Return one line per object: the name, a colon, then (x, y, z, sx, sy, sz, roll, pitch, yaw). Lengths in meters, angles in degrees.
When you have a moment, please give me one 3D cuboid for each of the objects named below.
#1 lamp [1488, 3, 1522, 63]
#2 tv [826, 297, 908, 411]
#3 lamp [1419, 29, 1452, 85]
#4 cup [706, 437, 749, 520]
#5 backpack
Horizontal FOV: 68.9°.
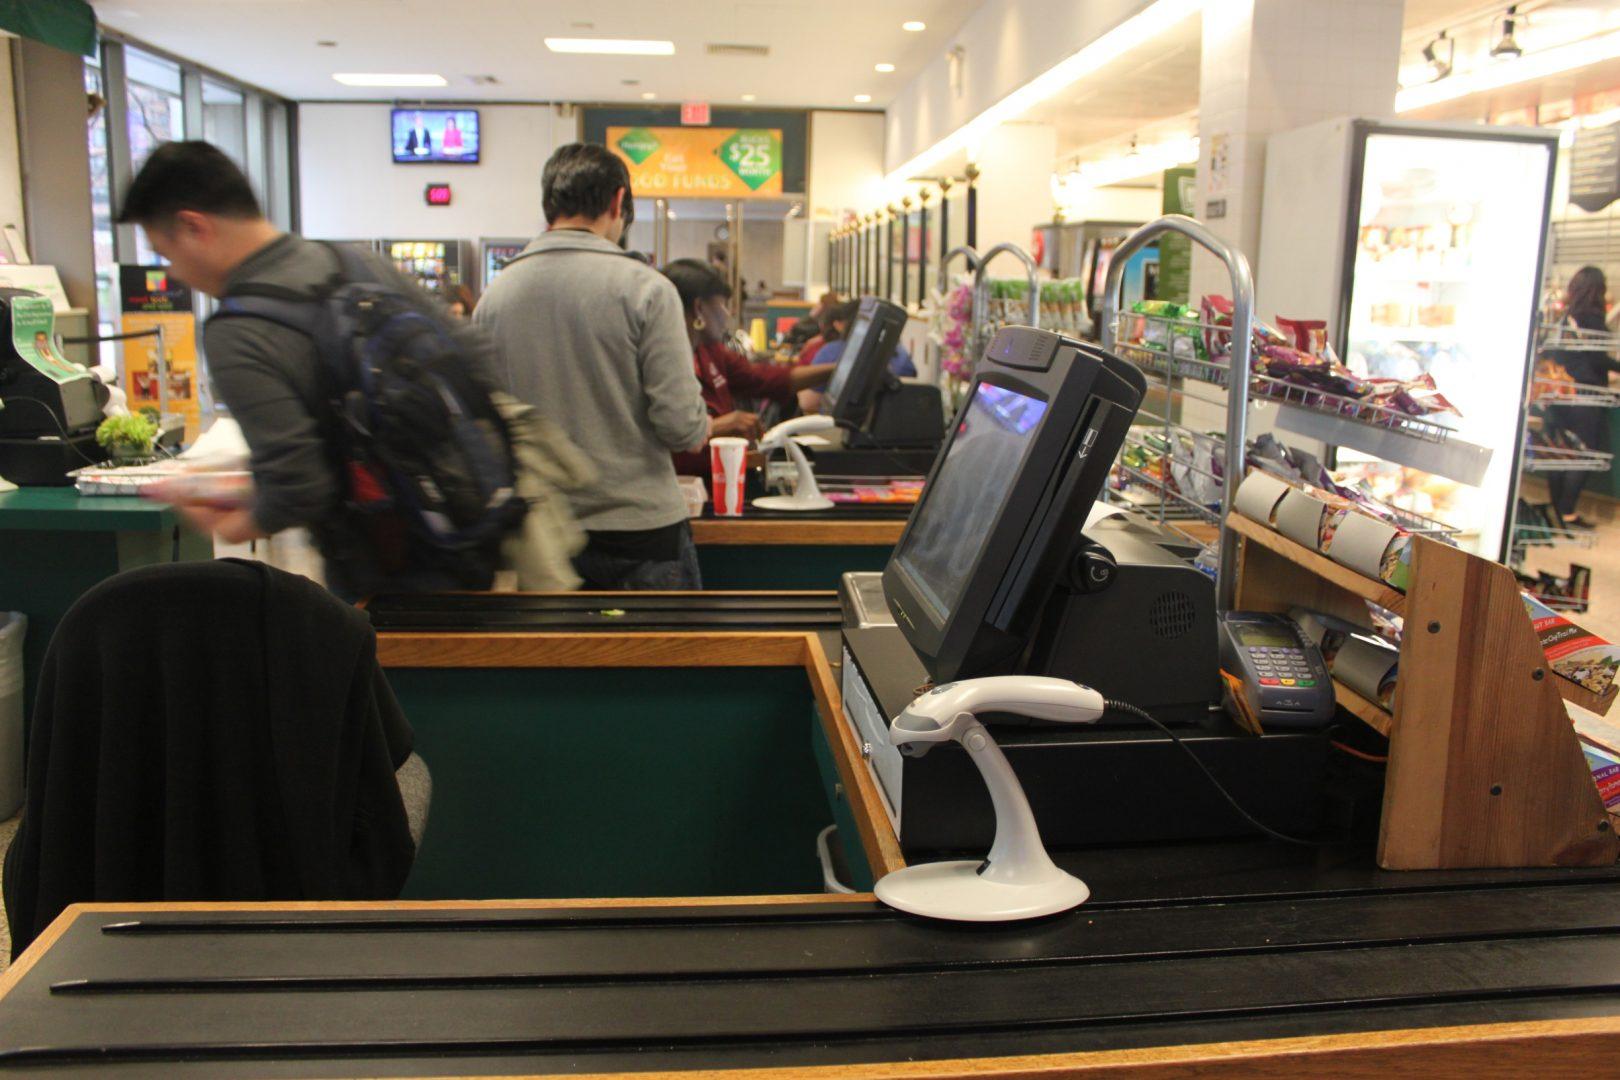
lamp: (3.863, -2.792, 6.503, 0.161, 0.252, 0.478, 8, 18, 27)
tv: (0.228, -0.640, 4.242, 0.297, 0.404, 0.559, 5, 12, -2)
lamp: (3.775, -2.886, 7.068, 0.150, 0.256, 0.333, 9, 19, 30)
cup: (-0.257, -0.205, 3.706, 0.100, 0.241, 0.191, -2, 16, -4)
backpack: (-0.920, -0.273, 2.554, 0.454, 0.737, 0.578, 1, 28, 22)
